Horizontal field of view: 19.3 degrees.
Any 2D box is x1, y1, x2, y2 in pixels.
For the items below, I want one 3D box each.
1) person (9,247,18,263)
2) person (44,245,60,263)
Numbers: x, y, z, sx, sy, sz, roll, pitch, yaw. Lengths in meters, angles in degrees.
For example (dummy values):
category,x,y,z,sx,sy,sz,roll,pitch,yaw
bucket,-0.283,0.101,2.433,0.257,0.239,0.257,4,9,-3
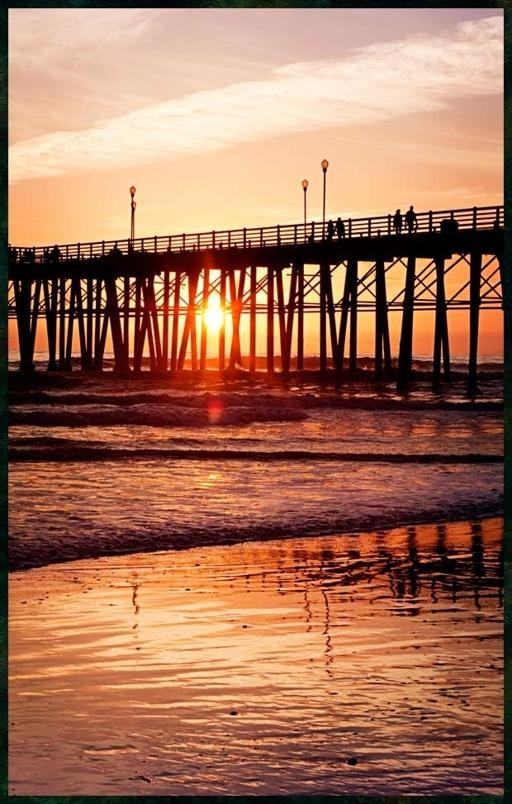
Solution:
category,x,y,z,sx,sy,sz,roll,pitch,yaw
person,-10.110,-6.106,62.439,0.263,0.644,1.372,0,3,-12
person,-8.134,-5.880,59.924,0.368,0.645,1.620,0,3,-18
